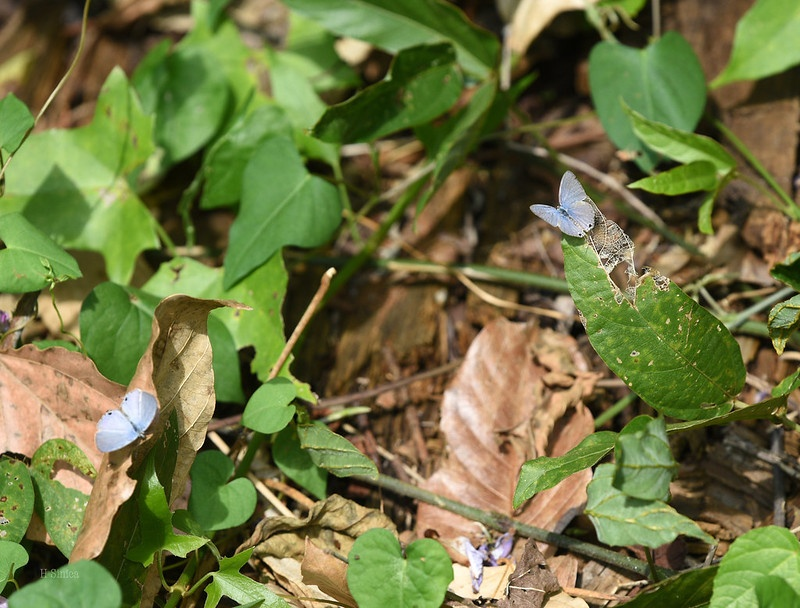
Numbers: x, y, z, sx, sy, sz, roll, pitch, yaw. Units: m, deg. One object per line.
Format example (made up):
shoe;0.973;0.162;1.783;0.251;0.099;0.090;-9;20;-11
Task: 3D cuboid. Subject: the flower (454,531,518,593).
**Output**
flower;0.227;0.690;2.183;0.154;0.056;0.146;-5;33;8

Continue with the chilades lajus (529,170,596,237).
chilades lajus;0.406;-0.239;2.037;0.145;0.148;0.075;-14;30;-8
